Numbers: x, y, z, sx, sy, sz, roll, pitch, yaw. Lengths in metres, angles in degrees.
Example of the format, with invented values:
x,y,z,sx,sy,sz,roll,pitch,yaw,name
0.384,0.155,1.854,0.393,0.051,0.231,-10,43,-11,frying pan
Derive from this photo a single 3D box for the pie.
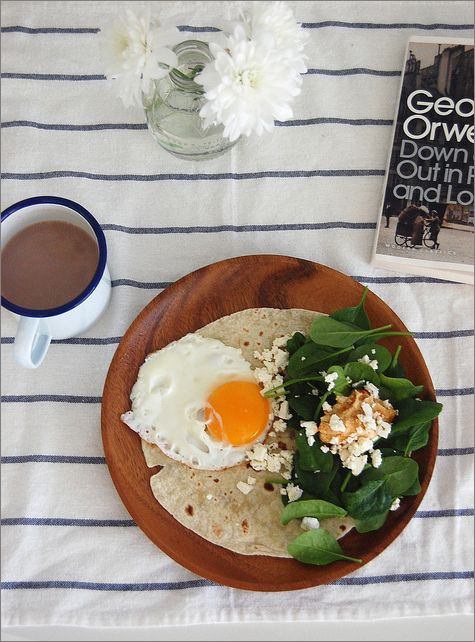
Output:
x,y,z,sx,sy,sz,roll,pitch,yaw,name
0.015,0.215,1.113,0.430,0.044,0.407,0,80,-1,pie

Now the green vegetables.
x,y,z,sx,sy,sz,roll,pitch,yaw,name
0.193,0.172,1.072,0.288,0.256,0.415,-7,58,-6,green vegetables

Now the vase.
x,y,z,sx,sy,sz,roll,pitch,yaw,name
-0.095,-0.342,1.081,0.172,0.190,0.174,-8,57,-7,vase
